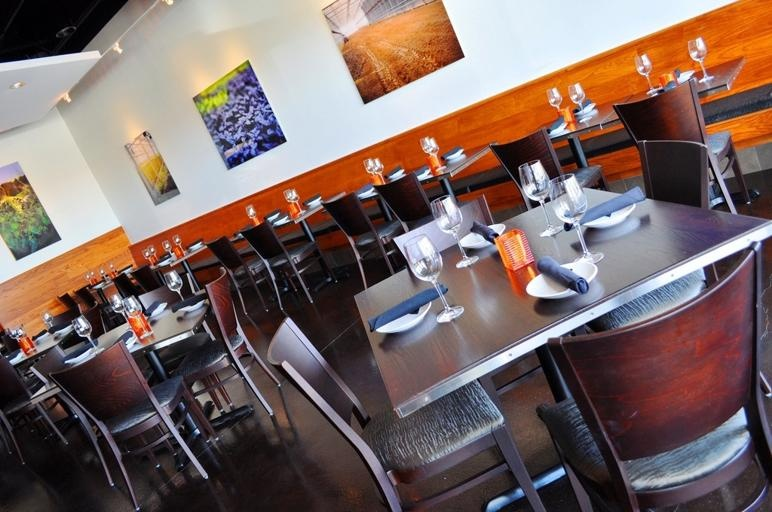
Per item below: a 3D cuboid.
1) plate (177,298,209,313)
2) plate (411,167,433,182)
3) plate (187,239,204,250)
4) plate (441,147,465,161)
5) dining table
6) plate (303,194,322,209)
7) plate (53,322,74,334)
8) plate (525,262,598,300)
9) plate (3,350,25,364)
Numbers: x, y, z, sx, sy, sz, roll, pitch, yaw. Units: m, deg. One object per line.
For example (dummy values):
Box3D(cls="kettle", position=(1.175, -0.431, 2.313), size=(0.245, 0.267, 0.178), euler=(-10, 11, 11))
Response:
Box3D(cls="plate", position=(-1.589, 0.388, 4.072), size=(0.150, 0.040, 0.153), euler=(-22, -3, 29))
Box3D(cls="plate", position=(0.369, -0.816, 4.855), size=(0.216, 0.054, 0.231), euler=(-24, 27, -23))
Box3D(cls="plate", position=(-2.943, -0.168, 7.608), size=(0.181, 0.043, 0.179), euler=(-24, 8, -28))
Box3D(cls="plate", position=(0.694, -1.026, 4.963), size=(0.122, 0.069, 0.226), euler=(12, 39, 46))
Box3D(cls="dining table", position=(2.149, -0.641, 3.426), size=(0.703, 1.192, 1.157), euler=(-16, 17, 38))
Box3D(cls="plate", position=(-0.871, -0.666, 6.103), size=(0.256, 0.110, 0.180), euler=(-22, 17, -29))
Box3D(cls="plate", position=(-3.860, 0.859, 5.884), size=(0.170, 0.076, 0.317), euler=(-3, 1, -17))
Box3D(cls="plate", position=(0.726, 0.106, 2.029), size=(0.195, 0.042, 0.186), euler=(-26, 14, 26))
Box3D(cls="plate", position=(-4.018, 1.092, 5.331), size=(0.171, 0.062, 0.173), euler=(1, 8, -4))
